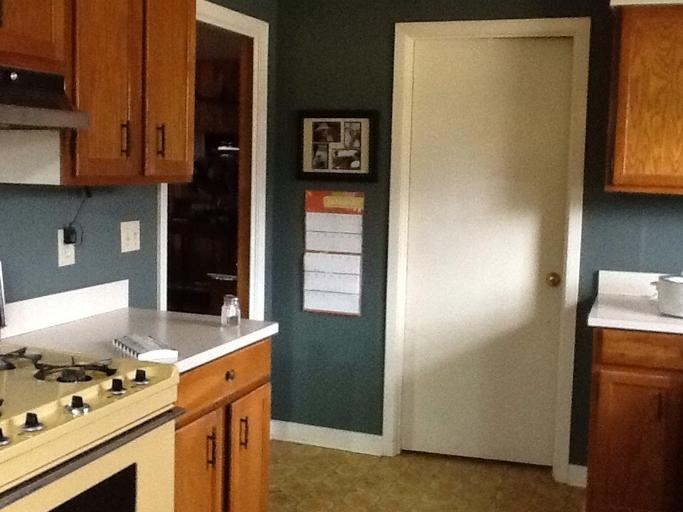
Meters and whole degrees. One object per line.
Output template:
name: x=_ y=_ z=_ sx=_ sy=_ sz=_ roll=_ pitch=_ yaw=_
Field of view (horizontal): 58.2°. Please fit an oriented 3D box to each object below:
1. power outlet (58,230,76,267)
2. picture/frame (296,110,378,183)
power outlet: x=-1.117 y=-0.035 z=2.476 sx=0.016 sy=0.151 sz=0.084 roll=8 pitch=13 yaw=21
picture/frame: x=-0.002 y=-0.642 z=3.525 sx=0.436 sy=0.357 sz=0.033 roll=2 pitch=6 yaw=12
